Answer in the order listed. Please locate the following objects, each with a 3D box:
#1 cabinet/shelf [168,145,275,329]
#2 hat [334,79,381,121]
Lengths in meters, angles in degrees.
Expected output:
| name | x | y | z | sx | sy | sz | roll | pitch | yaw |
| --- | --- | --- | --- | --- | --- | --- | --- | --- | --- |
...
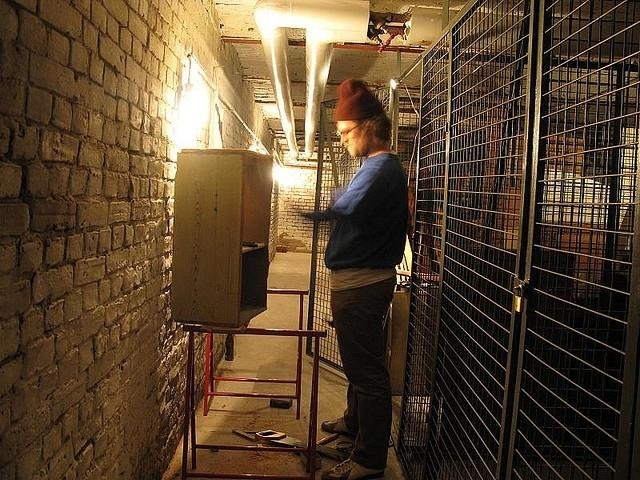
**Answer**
| name | x | y | z | sx | sy | sz | roll | pitch | yaw |
| --- | --- | --- | --- | --- | --- | --- | --- | --- | --- |
| cabinet/shelf | -0.493 | -0.029 | 2.732 | 0.417 | 0.894 | 0.571 | 2 | 6 | 8 |
| hat | 0.198 | -0.765 | 2.719 | 0.217 | 0.231 | 0.168 | 4 | 11 | -4 |
